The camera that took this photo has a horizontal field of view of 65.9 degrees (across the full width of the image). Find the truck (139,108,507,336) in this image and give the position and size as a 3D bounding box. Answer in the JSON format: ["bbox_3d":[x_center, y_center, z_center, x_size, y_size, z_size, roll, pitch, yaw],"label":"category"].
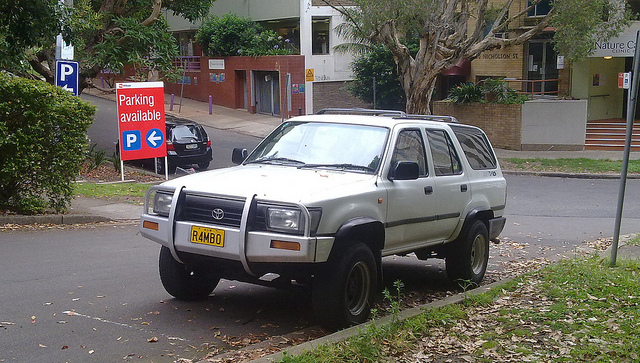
[{"bbox_3d":[0.794,0.457,9.724,3.696,2.849,6.274,0,-2,40],"label":"truck"}]

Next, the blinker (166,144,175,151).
[{"bbox_3d":[-6.847,-1.544,22.786,0.308,0.288,0.060,-1,5,-20],"label":"blinker"}]

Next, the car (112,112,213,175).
[{"bbox_3d":[-7.706,-1.939,24.368,4.538,2.123,2.730,13,16,39],"label":"car"}]

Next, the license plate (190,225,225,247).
[{"bbox_3d":[-1.796,0.886,7.920,0.782,0.337,0.032,4,3,32],"label":"license plate"}]
